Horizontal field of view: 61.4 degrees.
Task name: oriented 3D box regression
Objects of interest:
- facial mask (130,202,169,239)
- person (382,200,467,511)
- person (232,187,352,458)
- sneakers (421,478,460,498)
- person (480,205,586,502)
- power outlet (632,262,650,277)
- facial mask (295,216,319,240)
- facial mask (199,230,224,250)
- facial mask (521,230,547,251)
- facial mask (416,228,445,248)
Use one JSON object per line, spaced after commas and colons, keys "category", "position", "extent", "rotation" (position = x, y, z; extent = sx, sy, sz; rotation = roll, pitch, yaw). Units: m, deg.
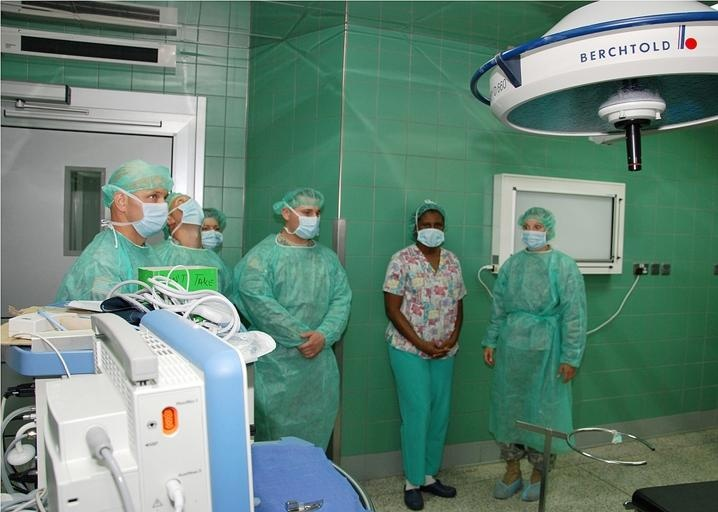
{"category": "facial mask", "position": [-0.880, -0.148, 2.580], "extent": [0.147, 0.115, 0.130], "rotation": [8, 6, -2]}
{"category": "person", "position": [0.378, 0.494, 3.158], "extent": [0.448, 1.536, 0.312], "rotation": [-4, 7, -29]}
{"category": "person", "position": [-0.321, 0.309, 2.996], "extent": [0.565, 1.273, 0.264], "rotation": [-1, 6, -9]}
{"category": "sneakers", "position": [0.430, 1.224, 3.164], "extent": [0.185, 0.076, 0.069], "rotation": [-2, -1, 23]}
{"category": "person", "position": [0.910, 0.506, 3.172], "extent": [0.503, 1.505, 0.382], "rotation": [0, 6, 11]}
{"category": "power outlet", "position": [1.731, 0.085, 3.689], "extent": [0.132, 0.082, 0.017], "rotation": [-3, 6, -24]}
{"category": "facial mask", "position": [-0.254, -0.135, 2.977], "extent": [0.109, 0.090, 0.111], "rotation": [2, 1, 43]}
{"category": "facial mask", "position": [-0.752, -0.083, 3.113], "extent": [0.091, 0.073, 0.093], "rotation": [-1, 3, -40]}
{"category": "facial mask", "position": [0.900, -0.078, 3.133], "extent": [0.091, 0.070, 0.107], "rotation": [-2, -4, 42]}
{"category": "facial mask", "position": [0.371, -0.090, 3.154], "extent": [0.132, 0.105, 0.093], "rotation": [0, 6, 6]}
